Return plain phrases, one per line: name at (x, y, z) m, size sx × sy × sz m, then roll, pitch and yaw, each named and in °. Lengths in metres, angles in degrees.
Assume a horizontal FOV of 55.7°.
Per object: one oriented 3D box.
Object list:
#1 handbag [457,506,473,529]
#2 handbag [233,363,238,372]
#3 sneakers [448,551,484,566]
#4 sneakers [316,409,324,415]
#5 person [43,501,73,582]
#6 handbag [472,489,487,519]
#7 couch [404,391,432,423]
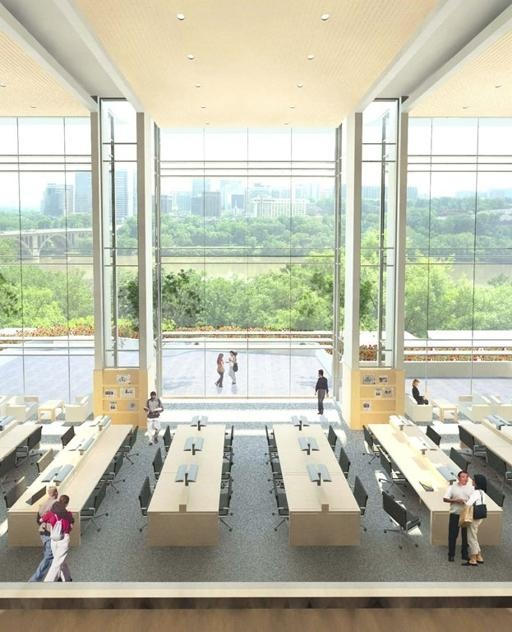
handbag at (3.075, 2.970, 7.169) m, size 0.133 × 0.257 × 0.285 m, roll 7°, pitch 32°, yaw -4°
handbag at (-0.687, 1.707, 16.003) m, size 0.097 × 0.317 × 0.360 m, roll 1°, pitch 6°, yaw 10°
sneakers at (3.042, 3.583, 7.187) m, size 0.533 × 0.212 × 0.173 m, roll 5°, pitch -9°, yaw 8°
sneakers at (1.883, 2.865, 14.417) m, size 0.173 × 0.264 × 0.149 m, roll 0°, pitch -13°, yaw -2°
person at (-2.593, 3.025, 6.396) m, size 0.379 × 1.013 × 0.946 m, roll -2°, pitch 6°, yaw -24°
handbag at (3.300, 2.846, 7.162) m, size 0.136 × 0.355 × 0.291 m, roll 5°, pitch 7°, yaw 44°
couch at (4.652, 2.535, 14.083) m, size 0.574 × 0.704 × 1.029 m, roll -1°, pitch 1°, yaw -2°
